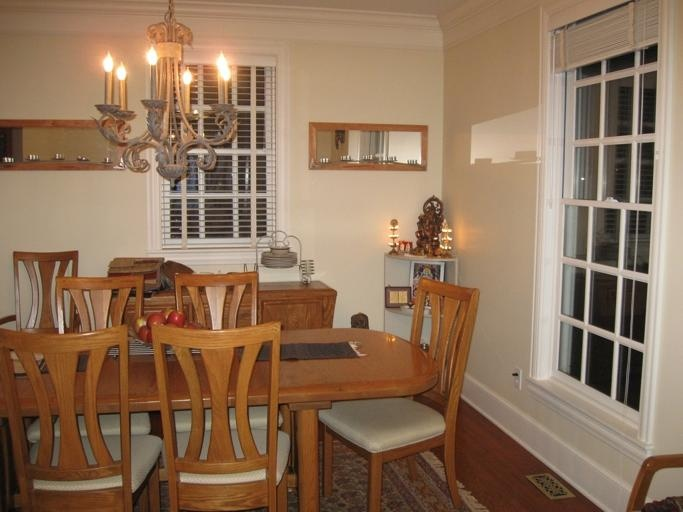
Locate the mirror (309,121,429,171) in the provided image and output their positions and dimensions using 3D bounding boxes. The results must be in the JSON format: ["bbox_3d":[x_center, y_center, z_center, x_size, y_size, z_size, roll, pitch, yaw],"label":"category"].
[{"bbox_3d":[0.245,-1.012,5.194,1.112,0.408,0.091,-1,10,-8],"label":"mirror"}]

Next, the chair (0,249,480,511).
[{"bbox_3d":[-0.261,0.769,3.082,1.952,1.136,0.893,-4,11,-25],"label":"chair"}]

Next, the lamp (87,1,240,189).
[{"bbox_3d":[-1.195,-1.121,3.535,0.670,1.382,1.740,-4,10,-23],"label":"lamp"}]

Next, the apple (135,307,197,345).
[{"bbox_3d":[-0.979,0.380,3.092,0.284,0.142,0.217,0,2,-11],"label":"apple"}]
